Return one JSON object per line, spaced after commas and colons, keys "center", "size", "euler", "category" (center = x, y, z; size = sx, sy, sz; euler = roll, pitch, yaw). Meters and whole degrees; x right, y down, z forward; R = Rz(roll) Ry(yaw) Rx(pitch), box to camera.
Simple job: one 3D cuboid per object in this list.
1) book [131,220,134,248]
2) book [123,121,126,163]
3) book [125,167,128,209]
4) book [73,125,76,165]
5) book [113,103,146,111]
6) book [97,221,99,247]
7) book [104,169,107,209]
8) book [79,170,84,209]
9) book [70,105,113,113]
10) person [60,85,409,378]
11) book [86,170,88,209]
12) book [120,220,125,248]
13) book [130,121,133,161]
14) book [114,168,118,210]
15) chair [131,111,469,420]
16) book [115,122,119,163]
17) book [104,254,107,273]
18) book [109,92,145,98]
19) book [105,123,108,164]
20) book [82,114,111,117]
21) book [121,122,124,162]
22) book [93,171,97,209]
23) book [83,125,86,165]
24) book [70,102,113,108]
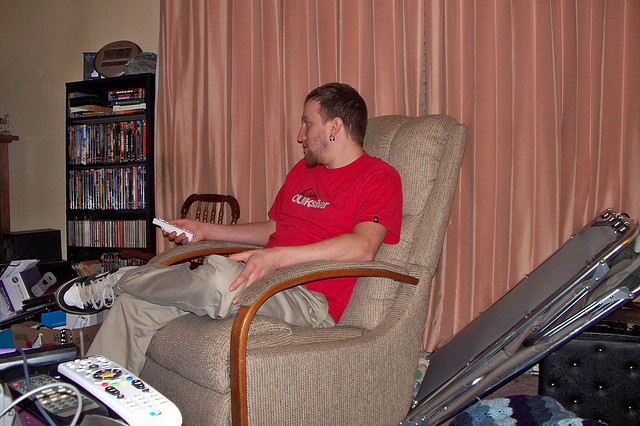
{"center": [-1.413, 0.154, 3.899], "size": [0.014, 0.188, 0.053], "euler": [-1, 9, -30], "category": "book"}
{"center": [-1.479, -0.529, 3.914], "size": [0.017, 0.299, 0.053], "euler": [0, 8, -27], "category": "book"}
{"center": [-1.466, -0.186, 3.919], "size": [0.019, 0.298, 0.054], "euler": [0, 8, -23], "category": "book"}
{"center": [-1.916, -0.530, 4.043], "size": [0.018, 0.293, 0.038], "euler": [0, 8, -26], "category": "book"}
{"center": [-1.428, -0.791, 3.888], "size": [0.261, 0.070, 0.061], "euler": [7, 8, 21], "category": "book"}
{"center": [-1.715, 0.161, 4.003], "size": [0.010, 0.182, 0.031], "euler": [-2, 9, -35], "category": "book"}
{"center": [-1.647, -0.179, 3.980], "size": [0.017, 0.292, 0.054], "euler": [0, 8, -26], "category": "book"}
{"center": [-1.862, -0.184, 4.054], "size": [0.024, 0.298, 0.072], "euler": [-3, 10, -42], "category": "book"}
{"center": [-1.761, -0.789, 3.972], "size": [0.346, 0.067, 0.085], "euler": [7, 8, 17], "category": "book"}
{"center": [-0.217, -0.077, 2.489], "size": [1.064, 1.076, 1.657], "euler": [9, 15, 44], "category": "person"}
{"center": [-1.814, -0.182, 4.032], "size": [0.011, 0.287, 0.047], "euler": [-1, 9, -30], "category": "book"}
{"center": [-1.499, 0.159, 3.926], "size": [0.030, 0.200, 0.058], "euler": [0, 8, -27], "category": "book"}
{"center": [-1.419, -0.535, 3.892], "size": [0.019, 0.286, 0.052], "euler": [1, 8, -23], "category": "book"}
{"center": [-1.556, -0.183, 3.949], "size": [0.021, 0.309, 0.060], "euler": [0, 8, -26], "category": "book"}
{"center": [-0.102, 0.220, 2.693], "size": [1.484, 1.524, 1.088], "euler": [2, 1, -43], "category": "chair"}
{"center": [-1.547, -0.529, 3.935], "size": [0.025, 0.295, 0.050], "euler": [-3, 10, -43], "category": "book"}
{"center": [-1.598, 0.362, 3.863], "size": [0.017, 0.103, 0.056], "euler": [0, 8, -24], "category": "book"}
{"center": [-1.459, -0.884, 3.909], "size": [0.279, 0.052, 0.019], "euler": [5, 8, 8], "category": "book"}
{"center": [-1.633, -0.523, 3.958], "size": [0.019, 0.296, 0.049], "euler": [0, 8, -24], "category": "book"}
{"center": [-1.735, -0.735, 3.938], "size": [0.171, 0.028, 0.026], "euler": [8, 9, 24], "category": "book"}
{"center": [-1.497, -0.537, 3.923], "size": [0.018, 0.284, 0.041], "euler": [0, 8, -23], "category": "book"}
{"center": [-1.742, -0.174, 4.013], "size": [0.019, 0.280, 0.060], "euler": [-2, 9, -36], "category": "book"}
{"center": [-1.828, -0.526, 4.020], "size": [0.017, 0.292, 0.040], "euler": [0, 8, -26], "category": "book"}
{"center": [-1.758, -0.824, 3.980], "size": [0.117, 0.028, 0.110], "euler": [2, 4, 26], "category": "book"}
